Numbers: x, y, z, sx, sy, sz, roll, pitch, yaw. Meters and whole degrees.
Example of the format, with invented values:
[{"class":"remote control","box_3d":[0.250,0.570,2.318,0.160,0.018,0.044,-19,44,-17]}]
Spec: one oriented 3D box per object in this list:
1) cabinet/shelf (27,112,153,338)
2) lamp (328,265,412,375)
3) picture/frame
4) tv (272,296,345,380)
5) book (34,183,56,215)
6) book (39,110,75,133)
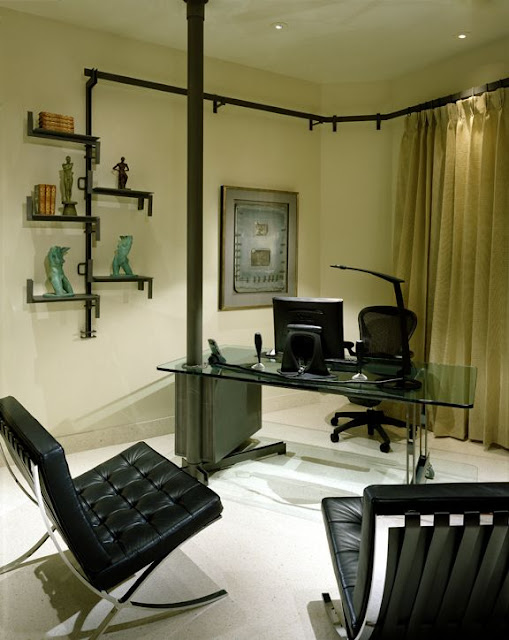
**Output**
[{"class":"cabinet/shelf","box_3d":[-1.041,-0.568,3.579,0.829,1.412,0.356,-3,7,-25]},{"class":"lamp","box_3d":[0.803,-0.093,3.716,0.587,0.532,2.291,2,7,8]},{"class":"picture/frame","box_3d":[0.005,-0.588,4.401,0.969,1.338,0.102,-3,6,-37]},{"class":"tv","box_3d":[0.292,0.101,2.983,0.386,0.317,0.041,4,6,39]},{"class":"book","box_3d":[-1.278,-0.726,3.388,0.134,0.187,0.238,-2,7,-19]},{"class":"book","box_3d":[-1.190,-1.174,3.319,0.196,0.120,0.108,-2,7,-23]}]
